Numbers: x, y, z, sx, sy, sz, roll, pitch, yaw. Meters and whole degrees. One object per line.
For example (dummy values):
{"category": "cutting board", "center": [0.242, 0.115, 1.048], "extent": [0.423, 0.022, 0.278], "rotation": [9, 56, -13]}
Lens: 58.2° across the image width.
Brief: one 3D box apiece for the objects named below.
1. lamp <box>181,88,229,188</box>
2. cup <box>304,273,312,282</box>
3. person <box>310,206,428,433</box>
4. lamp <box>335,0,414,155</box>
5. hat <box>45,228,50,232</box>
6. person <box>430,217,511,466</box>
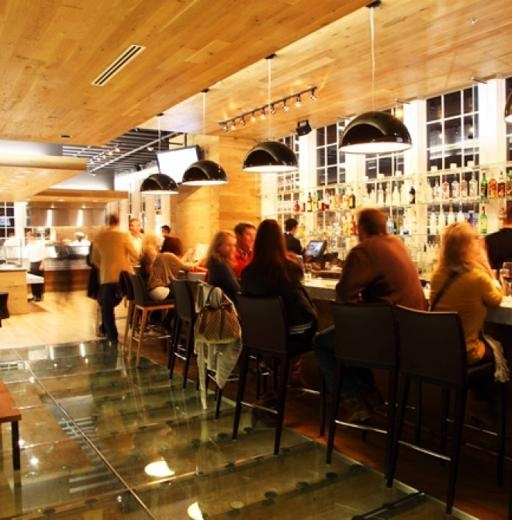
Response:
{"category": "lamp", "center": [-0.801, -1.621, 6.605], "extent": [0.566, 1.208, 1.868], "rotation": [-3, 3, -8]}
{"category": "cup", "center": [0.496, 0.172, 4.348], "extent": [0.081, 0.076, 0.074], "rotation": [1, -5, 0]}
{"category": "person", "center": [0.645, 0.418, 2.837], "extent": [0.641, 1.477, 0.567], "rotation": [0, 4, 42]}
{"category": "lamp", "center": [1.141, -1.523, 4.332], "extent": [0.530, 1.299, 2.517], "rotation": [-1, 3, 17]}
{"category": "hat", "center": [-6.333, -0.903, 13.928], "extent": [0.103, 0.084, 0.093], "rotation": [-2, -8, 17]}
{"category": "person", "center": [1.155, 0.466, 2.500], "extent": [0.397, 1.345, 0.571], "rotation": [-1, 3, 19]}
